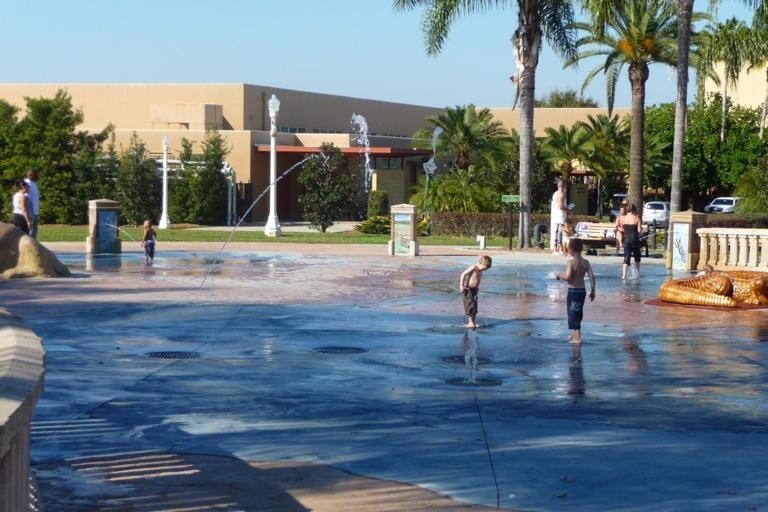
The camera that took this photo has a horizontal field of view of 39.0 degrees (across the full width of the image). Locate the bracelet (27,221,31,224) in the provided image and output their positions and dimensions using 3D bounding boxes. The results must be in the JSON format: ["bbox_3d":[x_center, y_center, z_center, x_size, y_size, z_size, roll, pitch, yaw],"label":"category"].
[{"bbox_3d":[-7.680,-0.717,23.491,0.105,0.083,0.067,-1,0,0],"label":"bracelet"}]

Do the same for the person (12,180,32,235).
[{"bbox_3d":[-7.791,-1.021,23.441,0.379,1.166,0.874,-2,0,-18],"label":"person"}]

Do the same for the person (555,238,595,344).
[{"bbox_3d":[3.022,0.522,17.004,0.546,1.376,1.283,-1,0,10],"label":"person"}]

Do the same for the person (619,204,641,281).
[{"bbox_3d":[5.626,-0.343,24.666,0.445,1.413,1.560,-1,0,13],"label":"person"}]
